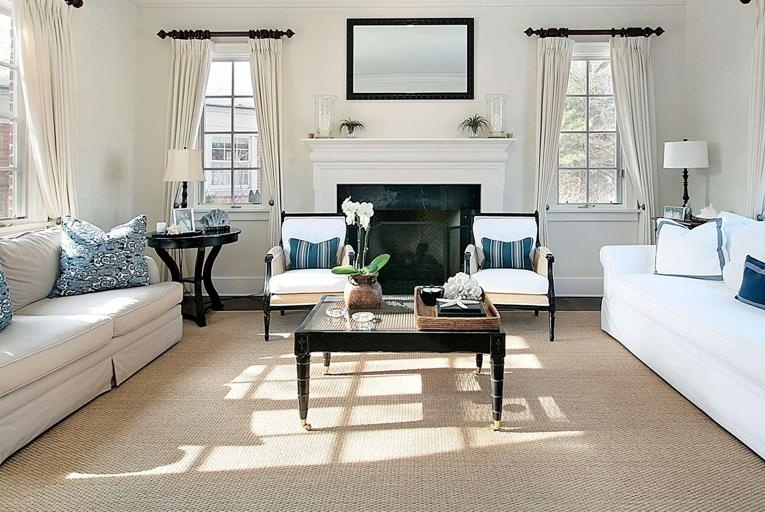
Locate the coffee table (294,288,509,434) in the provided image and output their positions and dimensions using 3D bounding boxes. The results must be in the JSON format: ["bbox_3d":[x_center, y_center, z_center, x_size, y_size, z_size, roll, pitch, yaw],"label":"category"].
[{"bbox_3d":[0.118,0.729,3.830,1.443,0.773,0.716,0,10,1],"label":"coffee table"}]

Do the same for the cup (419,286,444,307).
[{"bbox_3d":[0.378,0.295,3.975,0.136,0.098,0.140,1,5,0],"label":"cup"}]

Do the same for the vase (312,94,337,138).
[{"bbox_3d":[-0.688,-1.651,6.239,0.286,0.469,0.312,10,14,37],"label":"vase"}]

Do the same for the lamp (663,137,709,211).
[{"bbox_3d":[3.349,-0.896,5.730,0.389,0.677,0.620,9,13,41],"label":"lamp"}]

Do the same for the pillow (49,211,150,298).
[{"bbox_3d":[-2.463,0.007,4.518,0.752,0.693,0.349,-1,8,-23],"label":"pillow"}]

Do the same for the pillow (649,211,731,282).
[{"bbox_3d":[2.775,-0.067,4.672,0.246,0.607,0.634,8,-5,-41],"label":"pillow"}]

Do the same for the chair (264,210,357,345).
[{"bbox_3d":[-0.783,0.102,5.524,1.030,1.467,1.138,0,-1,-4],"label":"chair"}]

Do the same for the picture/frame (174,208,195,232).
[{"bbox_3d":[-2.091,-0.372,5.509,0.251,0.342,0.029,-3,-13,-40],"label":"picture/frame"}]

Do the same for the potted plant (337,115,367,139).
[{"bbox_3d":[-0.364,-1.530,6.252,0.334,0.230,0.123,-1,10,-6],"label":"potted plant"}]

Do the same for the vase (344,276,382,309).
[{"bbox_3d":[-0.144,0.281,4.099,0.243,0.223,0.250,-1,3,4],"label":"vase"}]

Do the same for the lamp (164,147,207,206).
[{"bbox_3d":[-2.158,-0.852,5.798,0.392,0.623,0.530,-1,10,-7],"label":"lamp"}]

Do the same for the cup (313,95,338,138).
[{"bbox_3d":[-0.670,-1.624,6.175,0.246,0.479,0.270,0,10,0],"label":"cup"}]

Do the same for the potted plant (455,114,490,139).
[{"bbox_3d":[1.110,-1.513,6.225,0.291,0.210,0.295,-1,4,-27],"label":"potted plant"}]
